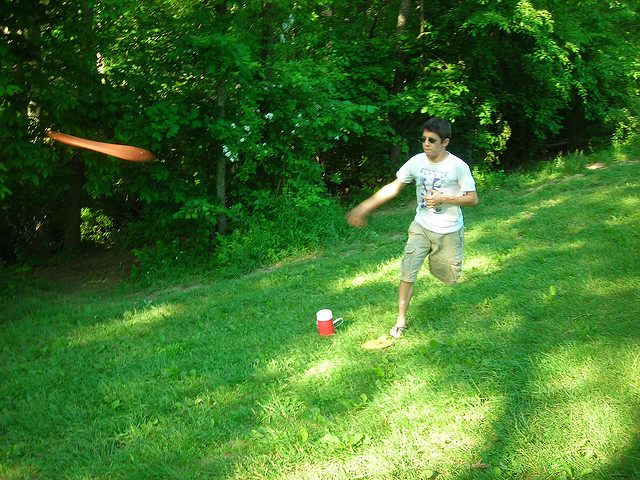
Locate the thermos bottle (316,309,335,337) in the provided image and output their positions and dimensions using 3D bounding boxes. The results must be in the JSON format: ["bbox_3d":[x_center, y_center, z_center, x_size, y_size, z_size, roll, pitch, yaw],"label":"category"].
[{"bbox_3d":[0.073,1.035,7.383,0.193,0.319,0.190,-7,12,2],"label":"thermos bottle"}]
